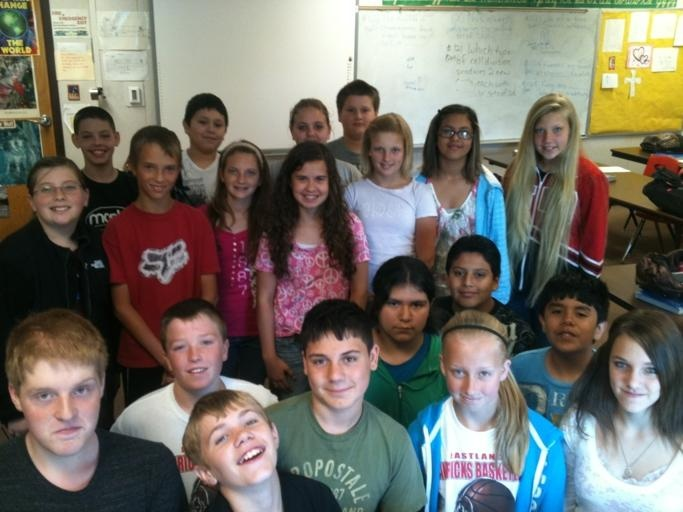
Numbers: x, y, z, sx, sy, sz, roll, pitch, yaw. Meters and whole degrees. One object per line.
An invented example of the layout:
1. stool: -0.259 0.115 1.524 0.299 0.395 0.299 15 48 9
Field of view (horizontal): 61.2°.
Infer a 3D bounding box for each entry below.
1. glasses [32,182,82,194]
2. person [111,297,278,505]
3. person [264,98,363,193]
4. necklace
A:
1. glasses: -1.308 -0.305 2.630 0.201 0.049 0.047 -6 19 -11
2. person: -0.609 0.566 2.284 0.590 0.881 0.296 -9 14 -26
3. person: -0.191 -0.697 3.660 0.726 0.536 0.326 -1 16 -7
4. necklace: 1.111 0.731 2.186 0.211 0.275 0.026 6 -8 19
